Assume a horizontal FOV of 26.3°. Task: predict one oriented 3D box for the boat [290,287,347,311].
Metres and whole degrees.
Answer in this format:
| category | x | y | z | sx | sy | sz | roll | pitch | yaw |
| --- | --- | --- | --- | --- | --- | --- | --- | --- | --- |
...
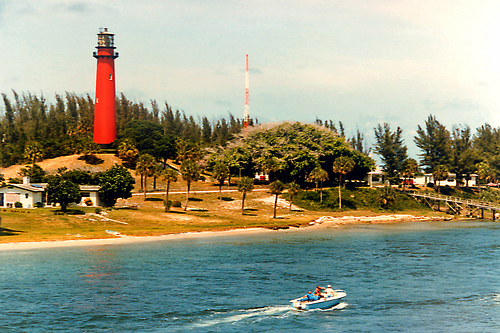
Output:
| category | x | y | z | sx | sy | sz | roll | pitch | yaw |
| --- | --- | --- | --- | --- | --- | --- | --- | --- | --- |
| boat | 16.949 | 33.178 | 262.551 | 12.522 | 3.221 | 5.136 | -3 | 5 | -25 |
